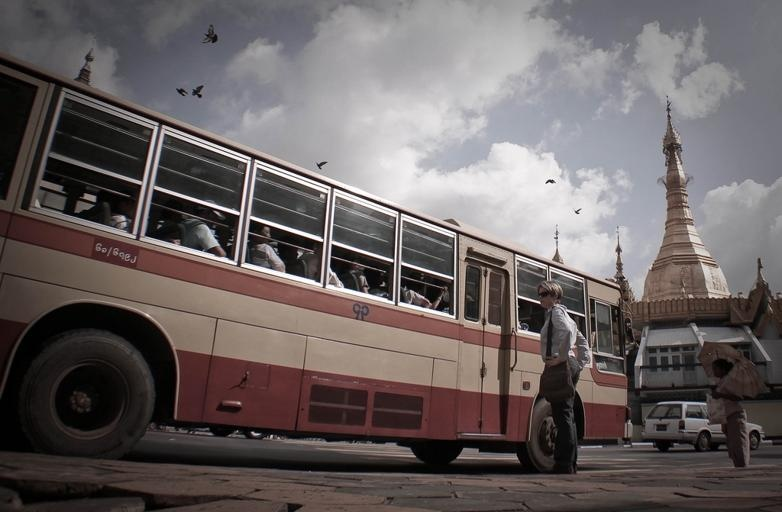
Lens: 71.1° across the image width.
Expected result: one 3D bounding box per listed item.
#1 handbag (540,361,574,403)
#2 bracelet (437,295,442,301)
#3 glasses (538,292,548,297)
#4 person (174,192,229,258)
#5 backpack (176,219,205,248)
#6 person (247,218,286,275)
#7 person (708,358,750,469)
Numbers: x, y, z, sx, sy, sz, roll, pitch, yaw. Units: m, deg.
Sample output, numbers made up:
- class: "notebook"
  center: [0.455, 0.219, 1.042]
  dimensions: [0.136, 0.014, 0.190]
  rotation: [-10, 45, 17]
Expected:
- class: "handbag"
  center: [2.636, 1.965, 8.610]
  dimensions: [0.486, 0.607, 0.347]
  rotation: [-19, -31, 32]
- class: "bracelet"
  center: [0.869, 0.745, 9.704]
  dimensions: [0.065, 0.085, 0.030]
  rotation: [18, -1, 34]
- class: "glasses"
  center: [2.474, 0.626, 8.900]
  dimensions: [0.087, 0.087, 0.037]
  rotation: [3, 0, 36]
- class: "person"
  center: [-2.677, -0.448, 7.632]
  dimensions: [0.583, 0.751, 0.434]
  rotation: [35, 7, 28]
- class: "backpack"
  center: [-2.806, -0.313, 7.588]
  dimensions: [0.390, 0.394, 0.213]
  rotation: [3, -3, -23]
- class: "person"
  center: [-1.857, -0.153, 8.034]
  dimensions: [0.400, 0.647, 0.770]
  rotation: [5, 2, -35]
- class: "person"
  center: [6.564, 3.012, 10.615]
  dimensions: [0.504, 1.986, 0.617]
  rotation: [-10, -21, 28]
